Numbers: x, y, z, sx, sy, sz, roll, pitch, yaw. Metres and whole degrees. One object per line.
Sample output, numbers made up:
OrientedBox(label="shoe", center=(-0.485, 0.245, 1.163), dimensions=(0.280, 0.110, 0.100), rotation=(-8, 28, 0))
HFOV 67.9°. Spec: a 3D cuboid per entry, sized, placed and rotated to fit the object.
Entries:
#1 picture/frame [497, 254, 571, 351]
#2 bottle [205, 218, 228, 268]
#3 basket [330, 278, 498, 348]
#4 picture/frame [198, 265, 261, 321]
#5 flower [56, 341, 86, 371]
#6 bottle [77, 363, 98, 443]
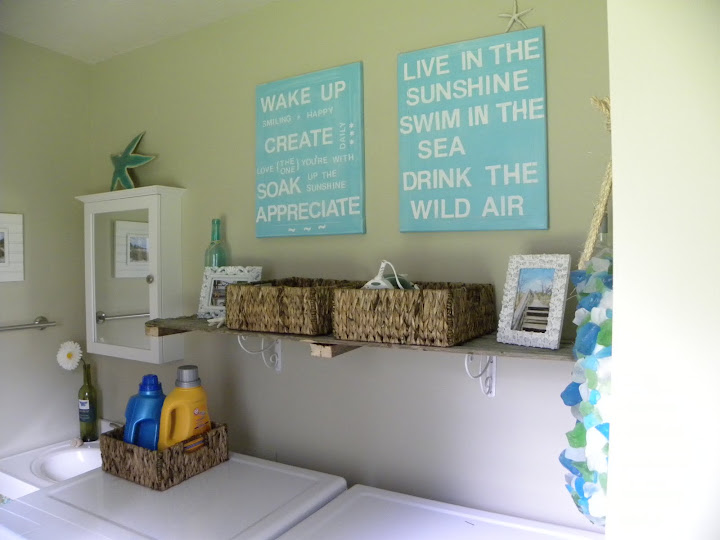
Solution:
OrientedBox(label="picture/frame", center=(0.421, 0.073, 1.312), dimensions=(0.152, 0.224, 0.110), rotation=(7, 12, 31))
OrientedBox(label="bottle", center=(-0.518, -0.101, 1.931), dimensions=(0.080, 0.162, 0.234), rotation=(-3, 11, -14))
OrientedBox(label="basket", center=(0.165, 0.109, 1.407), dimensions=(0.469, 0.162, 0.255), rotation=(0, 11, -3))
OrientedBox(label="picture/frame", center=(-0.416, 0.075, 1.716), dimensions=(0.166, 0.151, 0.012), rotation=(-2, -6, 38))
OrientedBox(label="flower", center=(-1.292, 0.376, 2.377), dimensions=(0.115, 0.124, 0.034), rotation=(10, -8, -21))
OrientedBox(label="bottle", center=(-1.224, 0.584, 2.405), dimensions=(0.087, 0.357, 0.132), rotation=(-6, 12, -30))
